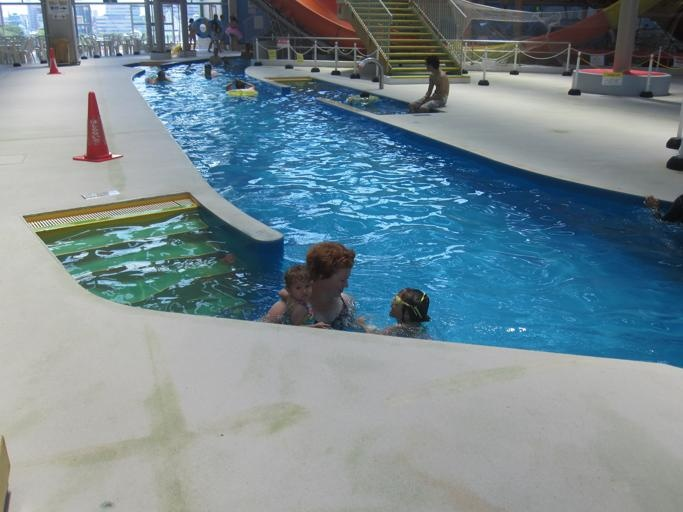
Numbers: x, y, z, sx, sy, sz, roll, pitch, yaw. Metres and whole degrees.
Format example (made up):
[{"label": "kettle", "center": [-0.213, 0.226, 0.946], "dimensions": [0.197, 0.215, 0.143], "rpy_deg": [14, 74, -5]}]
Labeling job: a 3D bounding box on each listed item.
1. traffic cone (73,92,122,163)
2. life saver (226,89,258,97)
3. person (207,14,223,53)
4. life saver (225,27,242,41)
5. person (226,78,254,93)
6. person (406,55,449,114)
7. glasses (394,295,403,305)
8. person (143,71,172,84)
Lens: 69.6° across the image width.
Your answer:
[{"label": "traffic cone", "center": [-3.027, -1.560, 5.954], "dimensions": [0.535, 0.799, 0.652], "rpy_deg": [-14, 27, -27]}, {"label": "life saver", "center": [-2.412, -3.986, 12.039], "dimensions": [0.746, 0.181, 0.593], "rpy_deg": [-2, 20, -7]}, {"label": "person", "center": [-5.708, -10.103, 22.101], "dimensions": [0.833, 1.790, 0.669], "rpy_deg": [20, 51, 0]}, {"label": "life saver", "center": [-5.177, -10.891, 24.051], "dimensions": [0.687, 0.508, 0.632], "rpy_deg": [-9, 24, -21]}, {"label": "person", "center": [-2.531, -4.270, 12.414], "dimensions": [0.804, 0.272, 0.851], "rpy_deg": [-5, 23, -15]}, {"label": "person", "center": [1.712, -3.285, 9.356], "dimensions": [0.538, 1.007, 0.896], "rpy_deg": [8, 25, 18]}, {"label": "glasses", "center": [0.392, 0.297, 3.271], "dimensions": [0.061, 0.045, 0.056], "rpy_deg": [-9, 23, -34]}, {"label": "person", "center": [-5.504, -5.291, 14.856], "dimensions": [0.758, 0.299, 0.810], "rpy_deg": [-10, 30, -17]}]
